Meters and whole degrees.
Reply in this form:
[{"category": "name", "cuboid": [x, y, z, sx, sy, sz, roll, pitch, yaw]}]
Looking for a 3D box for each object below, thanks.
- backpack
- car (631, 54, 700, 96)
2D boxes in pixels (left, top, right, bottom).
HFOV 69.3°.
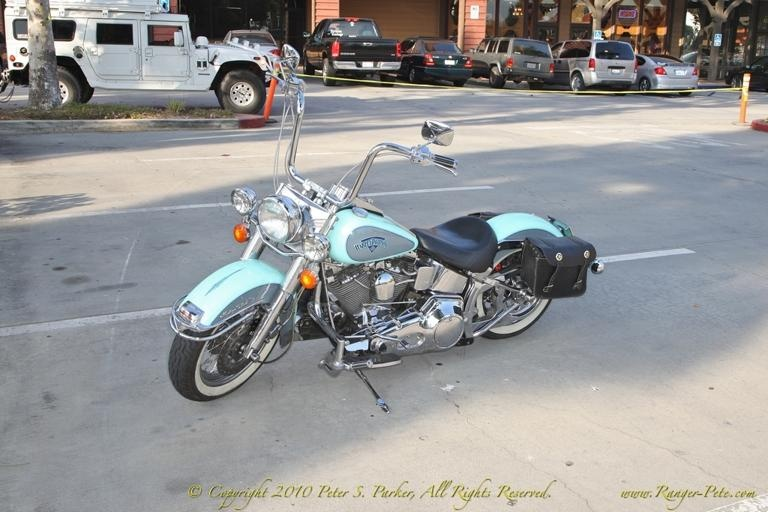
[{"category": "backpack", "cuboid": [1.428, 0.099, 4.690, 0.615, 0.430, 0.390, -3, 13, -32]}, {"category": "car", "cuboid": [12.326, -7.882, 24.383, 1.659, 0.951, 2.629, 0, 23, 3]}]
